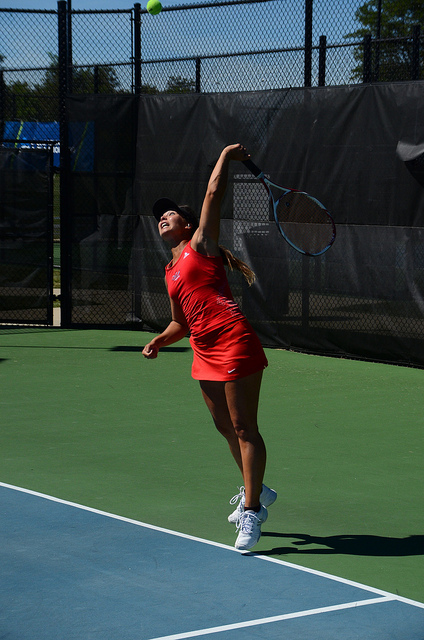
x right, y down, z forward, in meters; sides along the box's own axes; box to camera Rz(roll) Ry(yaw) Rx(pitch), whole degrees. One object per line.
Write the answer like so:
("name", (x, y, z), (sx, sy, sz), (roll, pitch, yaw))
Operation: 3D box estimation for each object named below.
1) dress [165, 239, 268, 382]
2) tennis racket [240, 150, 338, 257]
("dress", (-0.013, -0.037, 2.926), (0.494, 0.622, 0.235), (2, 1, 35))
("tennis racket", (0.969, -1.416, 7.696), (0.169, 0.621, 2.195), (29, 24, -46))
